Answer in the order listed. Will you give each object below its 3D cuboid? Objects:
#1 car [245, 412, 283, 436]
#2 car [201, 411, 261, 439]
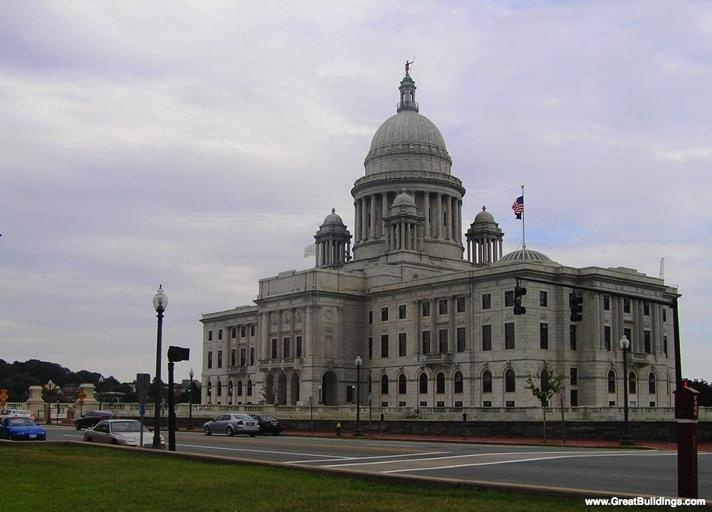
[{"bbox_3d":[-6.339,11.807,80.813,1.172,0.820,2.675,4,-4,-34],"label":"car"},{"bbox_3d":[-8.261,11.420,78.081,3.998,1.704,2.071,-9,-16,36],"label":"car"}]
